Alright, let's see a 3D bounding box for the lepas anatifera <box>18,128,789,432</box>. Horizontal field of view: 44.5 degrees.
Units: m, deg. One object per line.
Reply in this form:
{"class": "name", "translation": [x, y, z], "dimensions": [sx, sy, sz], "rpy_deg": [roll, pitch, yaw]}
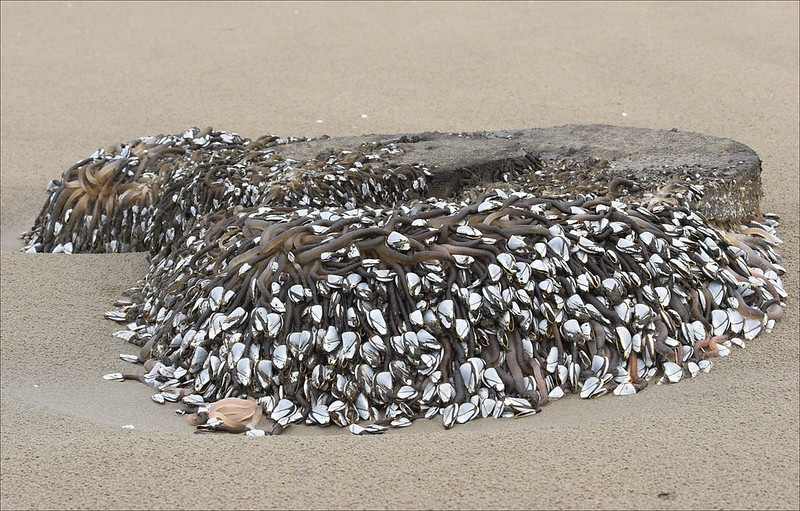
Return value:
{"class": "lepas anatifera", "translation": [0.308, -0.007, 6.297], "dimensions": [4.765, 1.279, 2.638], "rpy_deg": [-2, 16, -1]}
